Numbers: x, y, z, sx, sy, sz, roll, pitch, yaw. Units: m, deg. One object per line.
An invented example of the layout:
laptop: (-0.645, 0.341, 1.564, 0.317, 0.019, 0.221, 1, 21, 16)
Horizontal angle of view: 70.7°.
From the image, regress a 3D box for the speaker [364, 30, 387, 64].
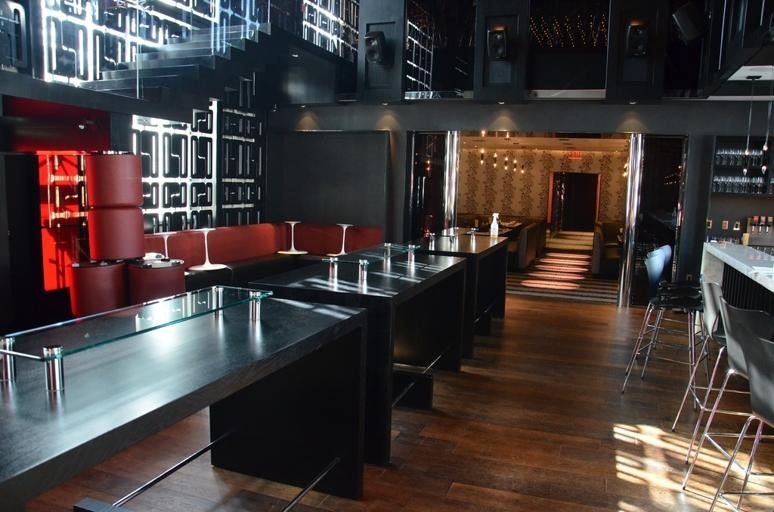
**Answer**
speaker: (-0.201, -3.325, 8.705, 0.302, 0.454, 0.286, -9, 26, -11)

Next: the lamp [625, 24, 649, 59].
lamp: (3.428, -2.996, 7.600, 0.310, 0.420, 0.267, -3, 5, -14)

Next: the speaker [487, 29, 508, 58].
speaker: (1.613, -3.135, 8.088, 0.286, 0.478, 0.257, -2, 7, -3)

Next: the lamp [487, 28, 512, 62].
lamp: (1.614, -3.120, 8.093, 0.288, 0.478, 0.250, -1, 0, -3)

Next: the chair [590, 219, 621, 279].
chair: (4.611, -0.136, 11.526, 0.402, 0.542, 1.384, -1, 16, 12)

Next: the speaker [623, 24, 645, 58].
speaker: (3.451, -3.017, 7.582, 0.285, 0.396, 0.256, -11, 21, -4)
